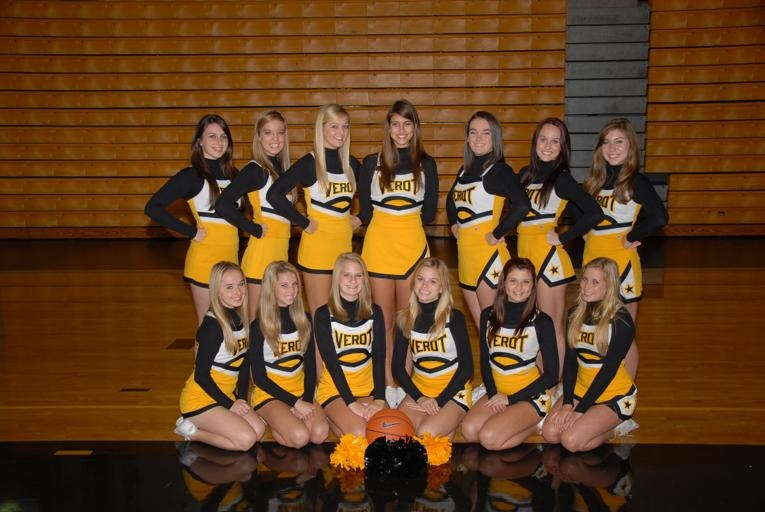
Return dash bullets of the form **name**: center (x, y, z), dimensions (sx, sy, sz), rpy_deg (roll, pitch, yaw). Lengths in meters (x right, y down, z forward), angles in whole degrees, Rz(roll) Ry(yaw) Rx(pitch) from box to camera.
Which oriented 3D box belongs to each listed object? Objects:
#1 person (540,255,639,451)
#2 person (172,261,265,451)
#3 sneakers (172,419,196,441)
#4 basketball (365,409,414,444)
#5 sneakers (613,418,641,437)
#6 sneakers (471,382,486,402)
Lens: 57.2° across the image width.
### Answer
- **person**: center (1.546, 0.712, 5.167), dimensions (0.619, 1.323, 0.655), rpy_deg (4, 15, 19)
- **person**: center (-1.181, 0.727, 5.194), dimensions (0.637, 1.301, 0.519), rpy_deg (2, 14, 10)
- **sneakers**: center (-1.449, 1.279, 5.185), dimensions (0.180, 0.133, 0.063), rpy_deg (33, -10, 6)
- **basketball**: center (0.050, 1.162, 4.973), dimensions (0.264, 0.231, 0.294), rpy_deg (-1, -4, 44)
- **sneakers**: center (1.822, 1.290, 5.263), dimensions (0.181, 0.116, 0.057), rpy_deg (-29, 6, -16)
- **sneakers**: center (0.750, 1.067, 5.479), dimensions (0.124, 0.092, 0.159), rpy_deg (-40, 4, -10)
